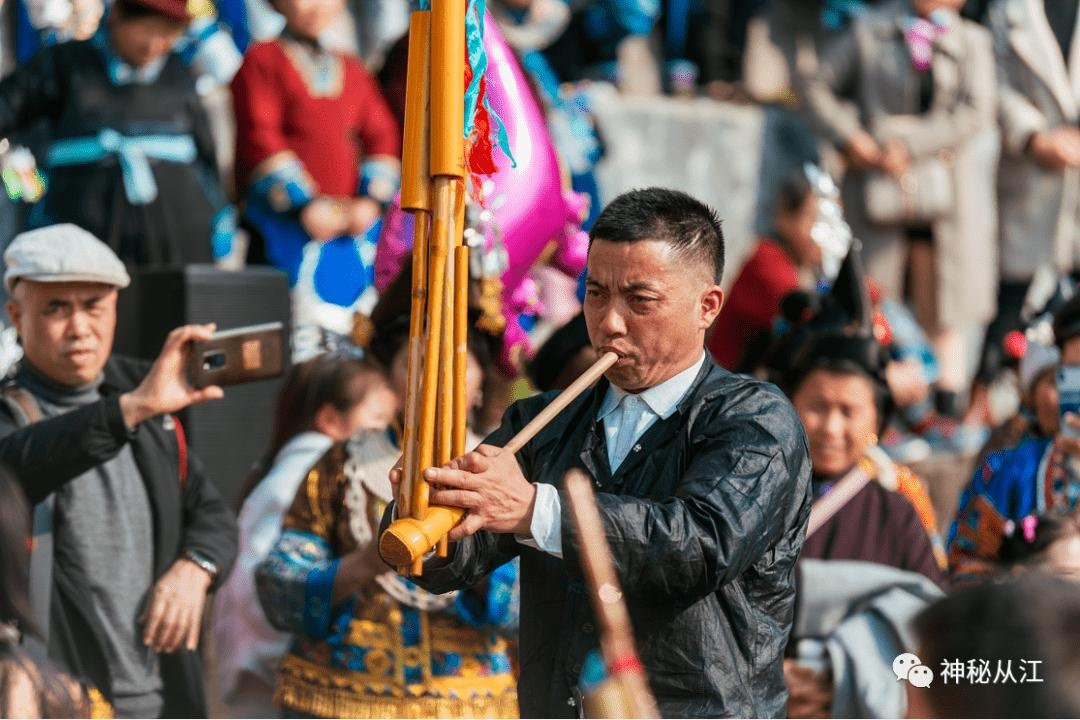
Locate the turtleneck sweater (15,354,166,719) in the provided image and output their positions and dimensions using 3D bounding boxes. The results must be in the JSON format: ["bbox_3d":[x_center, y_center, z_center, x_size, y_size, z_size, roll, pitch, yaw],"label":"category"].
[{"bbox_3d":[-2.454,1.071,11.251,0.978,1.819,0.456,-11,4,3],"label":"turtleneck sweater"}]

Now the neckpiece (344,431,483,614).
[{"bbox_3d":[-0.620,0.847,10.178,0.787,1.004,0.238,12,-2,1],"label":"neckpiece"}]

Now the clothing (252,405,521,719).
[{"bbox_3d":[-0.905,1.191,12.021,1.662,1.916,1.327,3,-6,-18],"label":"clothing"}]

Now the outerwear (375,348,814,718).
[{"bbox_3d":[0.302,0.733,10.341,1.858,2.364,1.743,-6,-17,30],"label":"outerwear"}]
